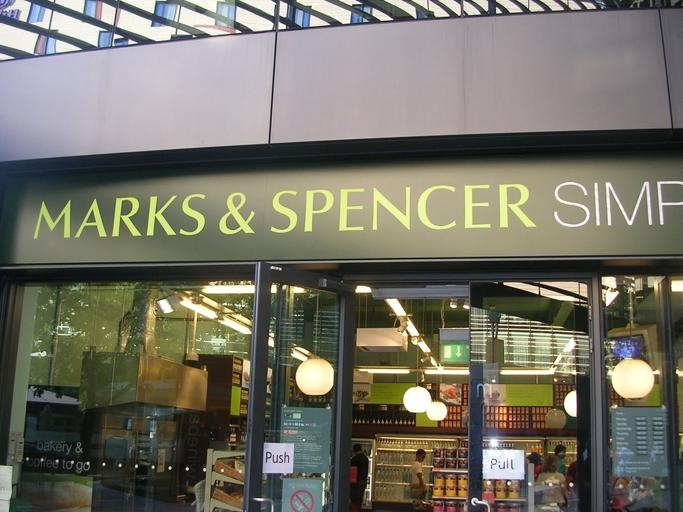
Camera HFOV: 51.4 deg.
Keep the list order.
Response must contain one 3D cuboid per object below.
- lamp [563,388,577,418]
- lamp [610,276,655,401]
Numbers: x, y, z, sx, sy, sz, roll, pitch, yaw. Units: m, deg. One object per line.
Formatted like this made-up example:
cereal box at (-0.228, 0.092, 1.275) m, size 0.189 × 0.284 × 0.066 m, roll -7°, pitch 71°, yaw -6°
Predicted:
lamp at (1.855, 1.195, 5.728) m, size 0.104 × 0.215 × 0.036 m, roll 0°, pitch -17°, yaw 1°
lamp at (2.365, 0.698, 5.786) m, size 0.360 × 0.945 × 0.143 m, roll -1°, pitch -18°, yaw 6°
